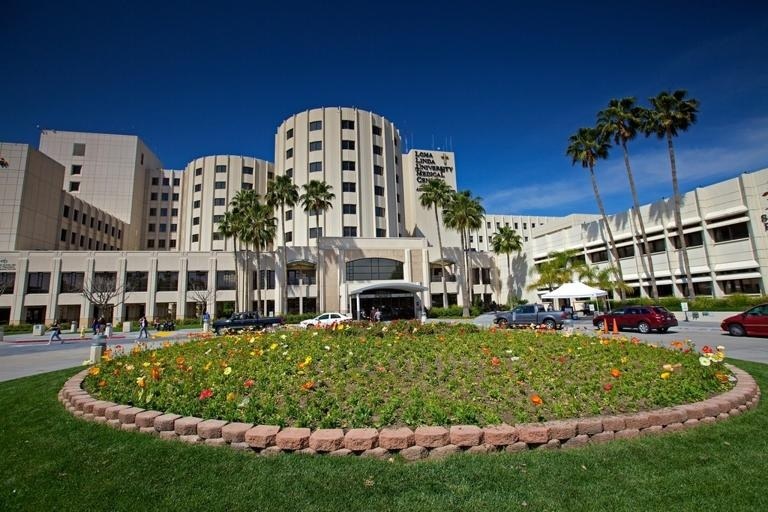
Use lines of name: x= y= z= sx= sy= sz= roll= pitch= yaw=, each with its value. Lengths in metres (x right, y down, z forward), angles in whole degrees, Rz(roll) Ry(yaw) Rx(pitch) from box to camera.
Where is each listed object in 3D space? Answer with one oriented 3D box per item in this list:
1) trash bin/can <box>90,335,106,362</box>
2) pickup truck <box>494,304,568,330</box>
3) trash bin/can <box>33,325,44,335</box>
trash bin/can: x=-11.656 y=3.751 z=16.883 sx=0.503 sy=1.067 sz=0.886 roll=0 pitch=-3 yaw=-38
pickup truck: x=10.041 y=4.281 z=28.924 sx=3.890 sy=1.500 sz=2.211 roll=-5 pitch=-12 yaw=38
trash bin/can: x=-31.622 y=6.799 z=38.014 sx=0.705 sy=1.006 sz=0.971 roll=-18 pitch=-14 yaw=38
